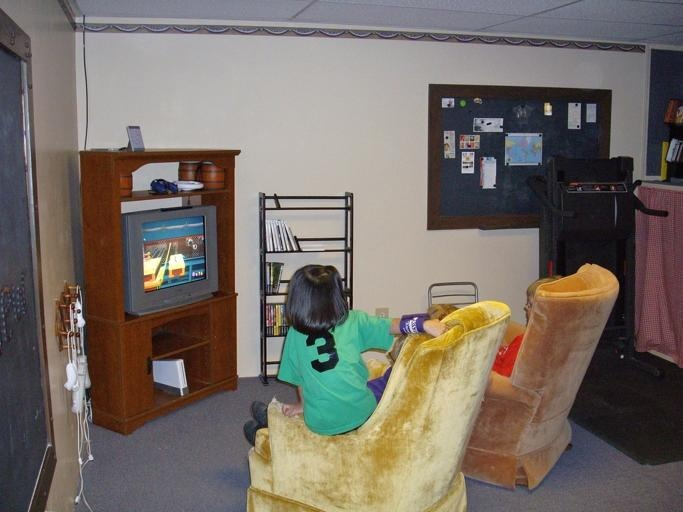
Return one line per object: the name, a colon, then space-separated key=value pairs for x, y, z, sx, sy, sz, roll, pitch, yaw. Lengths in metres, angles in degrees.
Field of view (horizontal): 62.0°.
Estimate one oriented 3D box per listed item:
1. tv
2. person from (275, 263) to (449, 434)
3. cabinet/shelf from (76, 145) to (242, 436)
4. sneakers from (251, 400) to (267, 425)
tv: x=-1.318 y=-0.013 z=4.333 sx=0.314 sy=0.771 sz=0.734 roll=11 pitch=16 yaw=42
person: x=0.067 y=0.504 z=3.123 sx=0.744 sy=1.099 sz=0.619 roll=3 pitch=43 yaw=18
cabinet/shelf: x=-1.365 y=0.198 z=4.287 sx=1.127 sy=1.973 sz=0.418 roll=-11 pitch=14 yaw=-40
sneakers: x=-0.496 y=0.951 z=3.472 sx=0.038 sy=0.139 sz=0.104 roll=16 pitch=-39 yaw=-40
